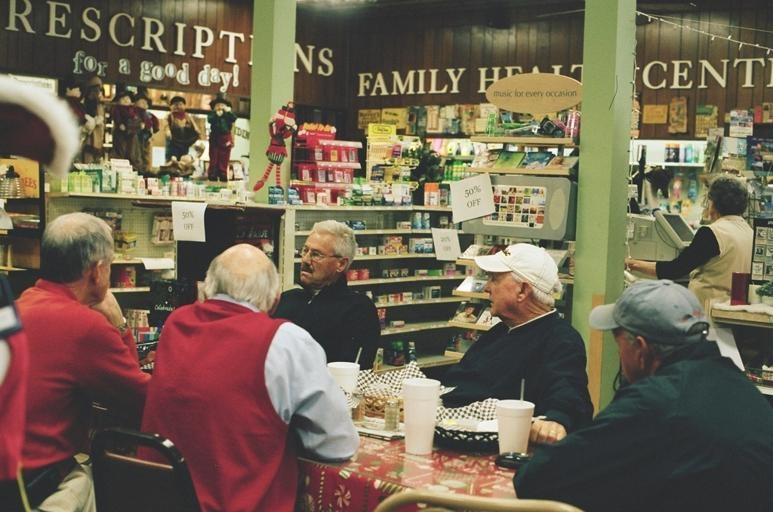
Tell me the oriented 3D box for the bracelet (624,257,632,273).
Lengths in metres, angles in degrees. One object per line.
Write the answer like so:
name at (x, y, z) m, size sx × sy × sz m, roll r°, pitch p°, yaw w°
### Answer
bracelet at (2.008, 0.076, 6.219) m, size 0.050 × 0.145 × 0.106 m, roll -2°, pitch 29°, yaw 12°

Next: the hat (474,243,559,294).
hat at (0.704, 0.089, 3.999) m, size 0.364 × 0.165 × 0.247 m, roll 16°, pitch 5°, yaw 2°

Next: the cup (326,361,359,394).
cup at (-0.210, 0.582, 3.578) m, size 0.126 × 0.138 × 0.140 m, roll -1°, pitch -5°, yaw 13°

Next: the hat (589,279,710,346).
hat at (1.070, 0.245, 3.060) m, size 0.370 × 0.198 × 0.245 m, roll 19°, pitch 22°, yaw 39°

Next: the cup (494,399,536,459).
cup at (0.538, 0.725, 3.155) m, size 0.198 × 0.240 × 0.206 m, roll 1°, pitch -3°, yaw 0°

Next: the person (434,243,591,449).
person at (0.731, 0.468, 4.120) m, size 0.363 × 0.562 × 1.035 m, roll 9°, pitch -7°, yaw -7°
